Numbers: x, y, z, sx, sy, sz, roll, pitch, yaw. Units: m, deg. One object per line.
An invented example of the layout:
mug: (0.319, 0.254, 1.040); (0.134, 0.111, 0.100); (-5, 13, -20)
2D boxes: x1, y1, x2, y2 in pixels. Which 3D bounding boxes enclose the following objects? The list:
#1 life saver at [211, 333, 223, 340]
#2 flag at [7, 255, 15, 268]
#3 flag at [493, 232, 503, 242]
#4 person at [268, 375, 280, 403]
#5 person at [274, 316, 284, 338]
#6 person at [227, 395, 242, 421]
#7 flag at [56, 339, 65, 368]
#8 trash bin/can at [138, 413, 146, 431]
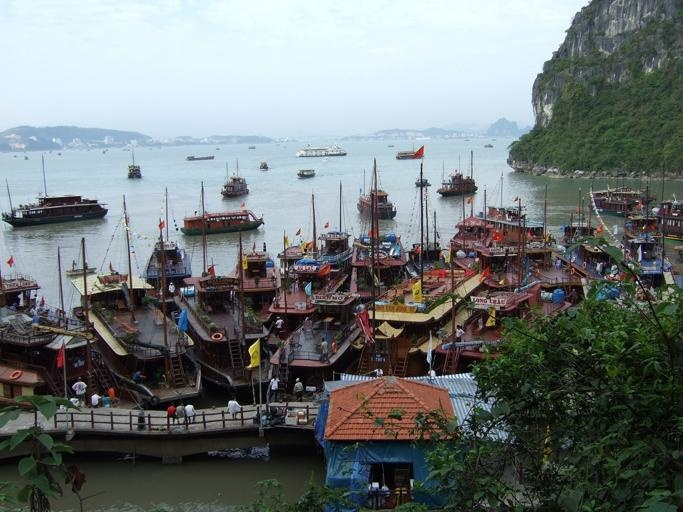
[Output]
life saver: (-5.561, 3.552, 38.401); (0.590, 0.252, 0.572); (0, 7, 24)
flag: (-24.927, 0.404, 64.715); (0.874, 1.243, 0.097); (10, 25, 26)
flag: (9.360, -1.140, 51.845); (0.565, 0.495, 1.430); (-2, 6, 10)
person: (-2.786, 5.366, 35.245); (0.474, 0.940, 1.436); (-3, 6, -3)
person: (-2.979, 3.353, 41.504); (0.473, 0.778, 1.581); (-3, 6, -3)
person: (-4.238, 6.021, 34.071); (0.612, 1.119, 0.451); (3, 14, 13)
flag: (-11.592, 4.106, 35.459); (0.384, 1.140, 0.943); (-5, 6, -19)
trash bin/can: (-7.598, 6.237, 32.537); (0.302, 0.574, 0.423); (-4, 6, -15)
